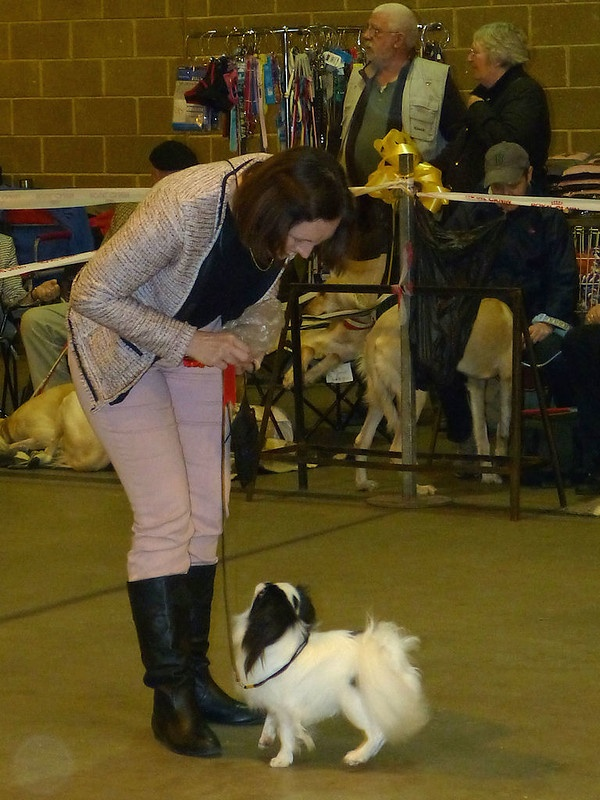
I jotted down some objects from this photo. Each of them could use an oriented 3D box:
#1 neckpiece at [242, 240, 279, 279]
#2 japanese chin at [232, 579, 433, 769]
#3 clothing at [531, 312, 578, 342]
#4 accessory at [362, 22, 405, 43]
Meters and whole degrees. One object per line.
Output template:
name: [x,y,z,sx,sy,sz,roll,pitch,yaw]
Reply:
neckpiece: [-0.067,-0.260,1.428,0.047,0.056,0.024,12,52,7]
japanese chin: [0.056,0.554,1.463,0.425,0.392,0.228,3,8,29]
clothing: [1.555,-0.480,4.656,0.261,0.093,0.186,15,45,-9]
accessory: [0.633,-2.755,5.717,0.259,0.131,0.177,4,13,-2]
